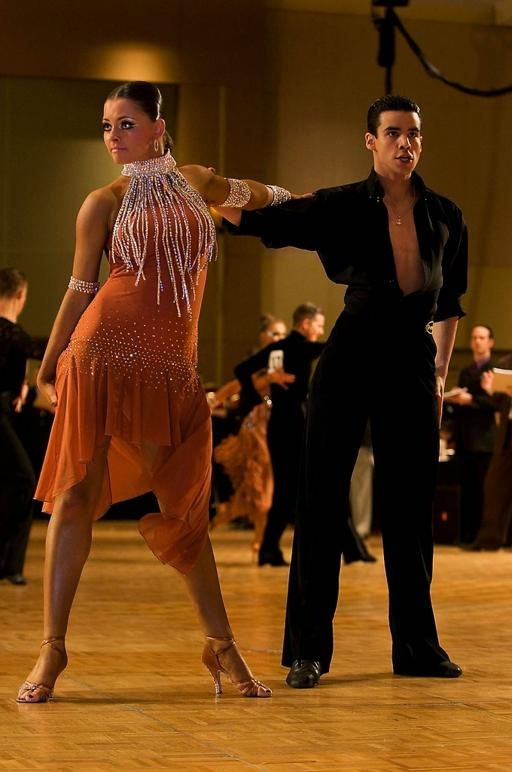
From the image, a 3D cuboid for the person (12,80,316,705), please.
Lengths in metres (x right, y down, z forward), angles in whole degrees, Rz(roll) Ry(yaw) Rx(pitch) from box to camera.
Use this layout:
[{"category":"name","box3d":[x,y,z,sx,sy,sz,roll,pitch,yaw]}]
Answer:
[{"category":"person","box3d":[-0.240,-0.010,1.791,0.535,1.380,0.421,1,4,-13]}]

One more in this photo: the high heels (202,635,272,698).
[{"category":"high heels","box3d":[-0.036,0.623,1.773,0.177,0.131,0.077,-11,-10,31]}]

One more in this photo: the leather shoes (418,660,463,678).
[{"category":"leather shoes","box3d":[0.473,0.724,2.039,0.120,0.042,0.041,1,-10,6]}]

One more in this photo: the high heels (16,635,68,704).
[{"category":"high heels","box3d":[-0.453,0.594,1.645,0.060,0.077,0.169,-4,4,9]}]
